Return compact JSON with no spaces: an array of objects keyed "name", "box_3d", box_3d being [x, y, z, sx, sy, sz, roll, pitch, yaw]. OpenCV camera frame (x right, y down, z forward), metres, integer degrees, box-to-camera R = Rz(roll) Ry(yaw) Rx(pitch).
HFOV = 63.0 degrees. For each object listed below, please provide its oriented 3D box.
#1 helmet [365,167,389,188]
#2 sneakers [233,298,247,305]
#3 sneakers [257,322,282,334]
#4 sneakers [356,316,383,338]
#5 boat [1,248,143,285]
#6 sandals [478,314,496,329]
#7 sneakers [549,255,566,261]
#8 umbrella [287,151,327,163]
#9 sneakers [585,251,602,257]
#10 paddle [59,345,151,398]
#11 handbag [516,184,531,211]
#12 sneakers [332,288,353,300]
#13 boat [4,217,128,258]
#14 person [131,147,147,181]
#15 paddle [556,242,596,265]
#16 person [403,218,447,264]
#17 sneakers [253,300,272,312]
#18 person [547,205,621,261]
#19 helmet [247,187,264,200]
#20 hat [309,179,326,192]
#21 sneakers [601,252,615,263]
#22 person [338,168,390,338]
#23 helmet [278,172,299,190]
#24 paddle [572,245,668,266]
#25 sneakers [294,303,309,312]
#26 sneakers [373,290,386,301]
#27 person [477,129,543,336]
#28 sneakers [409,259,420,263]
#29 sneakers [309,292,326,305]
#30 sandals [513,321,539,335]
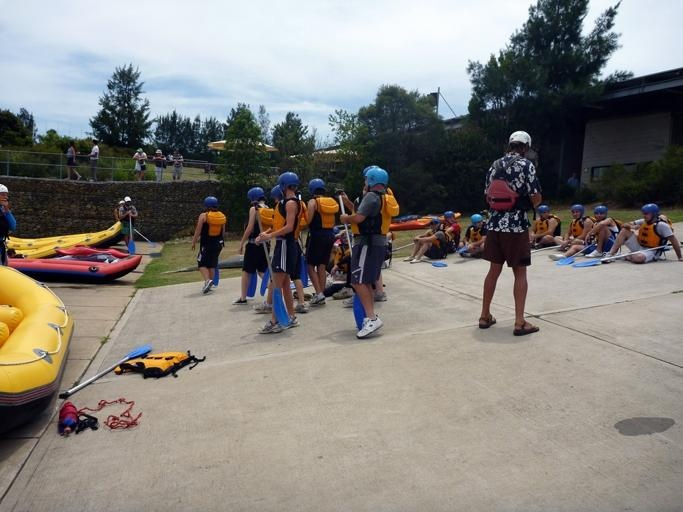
[{"name":"helmet","box_3d":[0.447,-1.135,7.683,0.301,0.286,0.248,23,31,37]},{"name":"sneakers","box_3d":[-1.873,0.829,10.266,0.240,0.111,0.115,4,-1,5]},{"name":"sneakers","box_3d":[-1.055,1.043,8.173,0.336,0.166,0.141,1,-1,-17]},{"name":"sneakers","box_3d":[0.387,0.953,7.544,0.396,0.282,0.265,-4,12,-30]},{"name":"boat","box_3d":[-6.460,0.214,13.329,2.625,0.585,1.437,2,4,-9]},{"name":"sandals","box_3d":[1.945,0.864,7.484,0.115,0.132,0.297,9,13,41]},{"name":"sneakers","box_3d":[4.572,0.010,11.893,0.237,0.111,0.115,-3,8,17]},{"name":"umbrella","box_3d":[-2.563,-7.886,42.954,2.927,0.817,2.188,1,11,-8]},{"name":"sneakers","box_3d":[5.298,-0.055,11.739,0.285,0.128,0.109,-5,0,25]},{"name":"paddle","box_3d":[-2.865,1.407,6.988,0.230,0.075,1.666,1,6,16]},{"name":"handbag","box_3d":[2.295,-0.735,7.048,0.191,0.306,0.286,-5,-3,30]},{"name":"sneakers","box_3d":[0.030,0.679,10.095,0.408,0.191,0.152,-3,4,-4]},{"name":"boat","box_3d":[-10.701,-0.792,21.380,1.447,1.095,5.011,-5,8,25]},{"name":"person","box_3d":[-11.689,-5.337,32.371,0.519,1.801,0.857,-2,11,-21]},{"name":"paddle","box_3d":[5.051,-0.066,11.972,1.106,0.198,0.233,-13,44,-39]},{"name":"person","box_3d":[2.178,-0.422,13.722,0.671,0.948,1.387,11,14,39]},{"name":"sneakers","box_3d":[-1.353,0.854,9.563,0.380,0.189,0.154,2,2,30]},{"name":"person","box_3d":[5.251,-0.493,12.050,1.791,1.099,0.792,-12,8,-20]},{"name":"helmet","box_3d":[-1.533,-1.136,10.017,0.272,0.245,0.213,3,14,20]},{"name":"hat","box_3d":[-0.441,-1.246,9.673,0.216,0.241,0.298,-8,26,-19]},{"name":"sneakers","box_3d":[5.328,0.022,11.124,0.457,0.210,0.154,-6,-9,-34]},{"name":"person","box_3d":[0.320,-0.076,7.601,0.544,2.277,0.771,3,10,4]},{"name":"helmet","box_3d":[-0.793,-1.167,8.310,0.220,0.246,0.287,-13,29,-32]},{"name":"paddle","box_3d":[5.530,-0.022,10.919,1.822,0.486,0.625,3,11,1]},{"name":"sneakers","box_3d":[-0.681,0.847,9.255,0.098,0.103,0.208,-8,13,-39]},{"name":"sneakers","box_3d":[0.647,0.668,9.578,0.101,0.126,0.260,-10,17,-37]},{"name":"person","box_3d":[2.201,-0.308,7.222,0.757,2.598,0.783,4,11,14]},{"name":"sneakers","box_3d":[1.756,0.107,13.345,0.250,0.096,0.089,-6,-3,-42]},{"name":"sneakers","box_3d":[-0.409,0.747,9.762,0.334,0.164,0.126,-14,2,42]},{"name":"sandals","box_3d":[2.349,0.891,7.101,0.299,0.125,0.153,-5,8,-31]}]
